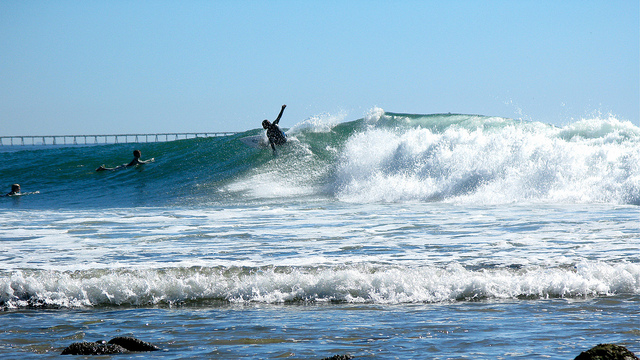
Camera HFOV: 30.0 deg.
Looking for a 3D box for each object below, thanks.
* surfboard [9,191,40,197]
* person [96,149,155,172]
[{"bbox_3d":[-9.731,0.414,39.822,1.387,0.144,0.195,-2,0,-36],"label":"surfboard"},{"bbox_3d":[-6.939,-0.736,42.945,2.266,0.634,0.874,-2,14,-20],"label":"person"}]
